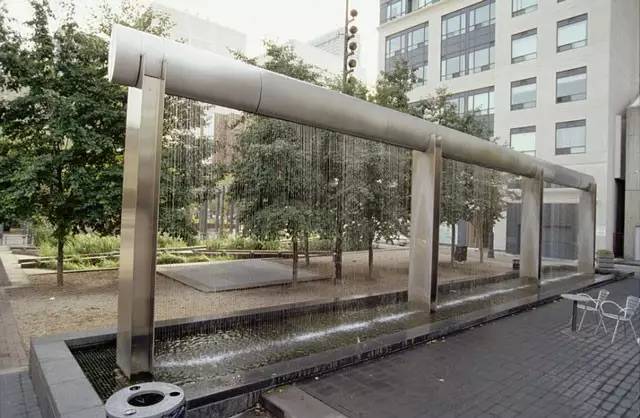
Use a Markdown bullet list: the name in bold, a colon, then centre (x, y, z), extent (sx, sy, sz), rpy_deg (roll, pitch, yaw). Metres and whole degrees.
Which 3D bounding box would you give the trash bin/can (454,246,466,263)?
- **trash bin/can**: centre (7.207, 2.325, 23.372), extent (0.596, 0.734, 0.529), rpy_deg (-1, 0, 33)

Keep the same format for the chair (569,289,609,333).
- **chair**: centre (8.384, 3.272, 14.073), extent (1.090, 1.574, 1.094), rpy_deg (0, -3, 23)
